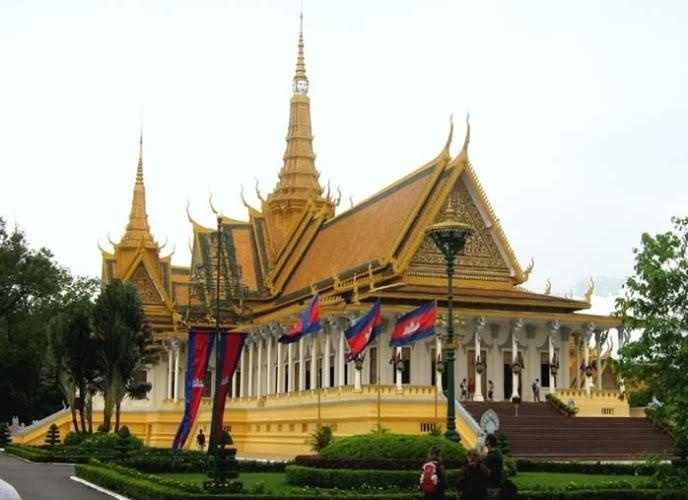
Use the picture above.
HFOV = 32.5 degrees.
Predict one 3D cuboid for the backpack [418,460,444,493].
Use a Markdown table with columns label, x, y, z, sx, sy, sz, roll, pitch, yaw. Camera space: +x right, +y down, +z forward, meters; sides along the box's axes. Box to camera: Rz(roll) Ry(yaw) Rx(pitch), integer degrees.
| label | x | y | z | sx | sy | sz | roll | pitch | yaw |
| --- | --- | --- | --- | --- | --- | --- | --- | --- | --- |
| backpack | 2.344 | 5.987 | 31.243 | 0.590 | 0.819 | 0.289 | 0 | -14 | 4 |

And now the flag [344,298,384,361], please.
| label | x | y | z | sx | sy | sz | roll | pitch | yaw |
| --- | --- | --- | --- | --- | --- | --- | --- | --- | --- |
| flag | 0.783 | 2.841 | 43.128 | 1.054 | 1.916 | 2.767 | 3 | -14 | -11 |

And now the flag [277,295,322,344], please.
| label | x | y | z | sx | sy | sz | roll | pitch | yaw |
| --- | --- | --- | --- | --- | --- | --- | --- | --- | --- |
| flag | -1.607 | 2.593 | 46.516 | 1.062 | 1.609 | 2.742 | 4 | -15 | -14 |

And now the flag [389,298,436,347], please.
| label | x | y | z | sx | sy | sz | roll | pitch | yaw |
| --- | --- | --- | --- | --- | --- | --- | --- | --- | --- |
| flag | 2.354 | 2.520 | 40.296 | 1.821 | 1.406 | 0.246 | -11 | 21 | -26 |
